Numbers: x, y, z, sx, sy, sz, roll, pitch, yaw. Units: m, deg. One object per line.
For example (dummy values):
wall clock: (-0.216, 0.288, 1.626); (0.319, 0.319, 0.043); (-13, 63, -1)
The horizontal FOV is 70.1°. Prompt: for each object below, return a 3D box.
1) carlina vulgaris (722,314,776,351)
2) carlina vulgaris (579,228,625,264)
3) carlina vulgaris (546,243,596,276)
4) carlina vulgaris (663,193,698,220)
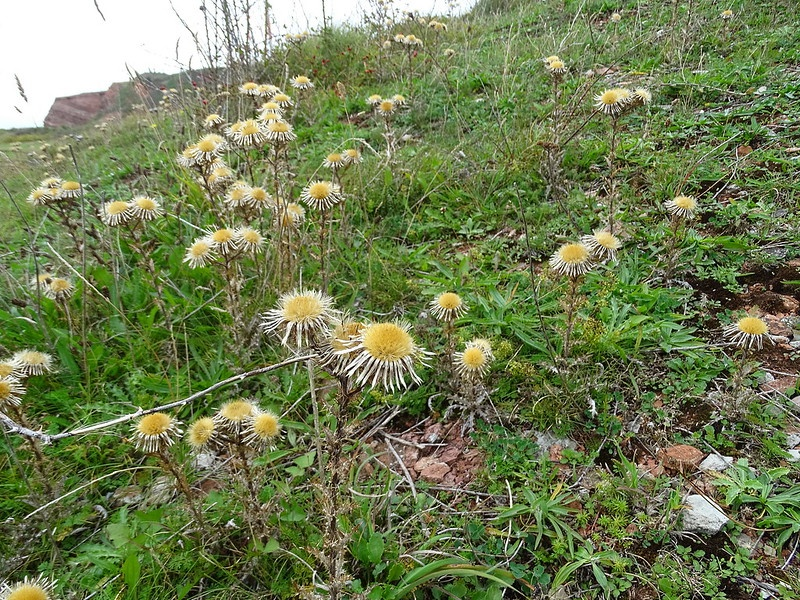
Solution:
carlina vulgaris: (2.159, 0.225, 3.648); (0.290, 0.113, 0.295); (-17, 31, -17)
carlina vulgaris: (1.355, -0.329, 3.866); (0.243, 0.131, 0.244); (-11, 45, -28)
carlina vulgaris: (1.123, -0.259, 3.743); (0.240, 0.236, 0.305); (6, 33, 22)
carlina vulgaris: (2.079, -0.680, 4.243); (0.209, 0.196, 0.215); (11, 35, 30)
